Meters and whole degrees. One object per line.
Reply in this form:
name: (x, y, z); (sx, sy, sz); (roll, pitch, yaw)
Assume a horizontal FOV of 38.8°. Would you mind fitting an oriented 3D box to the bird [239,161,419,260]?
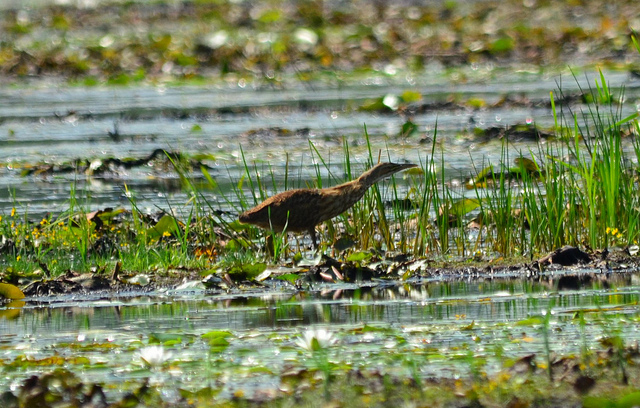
bird: (-0.006, 0.017, 10.123); (1.761, 0.803, 0.423); (-8, 5, -30)
